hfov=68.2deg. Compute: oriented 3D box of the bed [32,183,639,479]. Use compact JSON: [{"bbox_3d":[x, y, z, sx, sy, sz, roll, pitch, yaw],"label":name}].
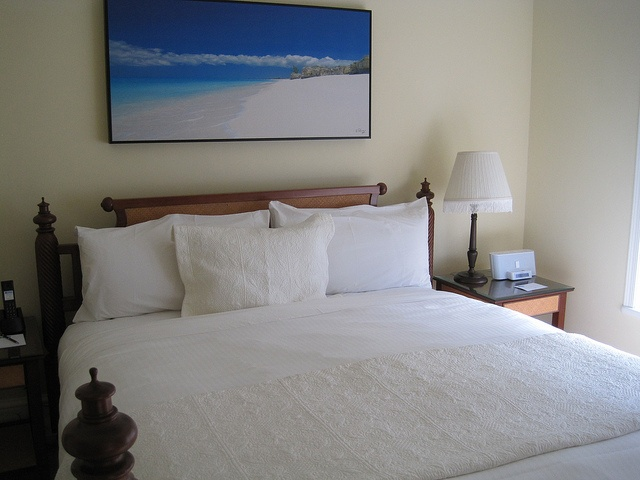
[{"bbox_3d":[-0.026,0.369,2.162,1.219,0.845,1.221,-4,15,-14],"label":"bed"}]
